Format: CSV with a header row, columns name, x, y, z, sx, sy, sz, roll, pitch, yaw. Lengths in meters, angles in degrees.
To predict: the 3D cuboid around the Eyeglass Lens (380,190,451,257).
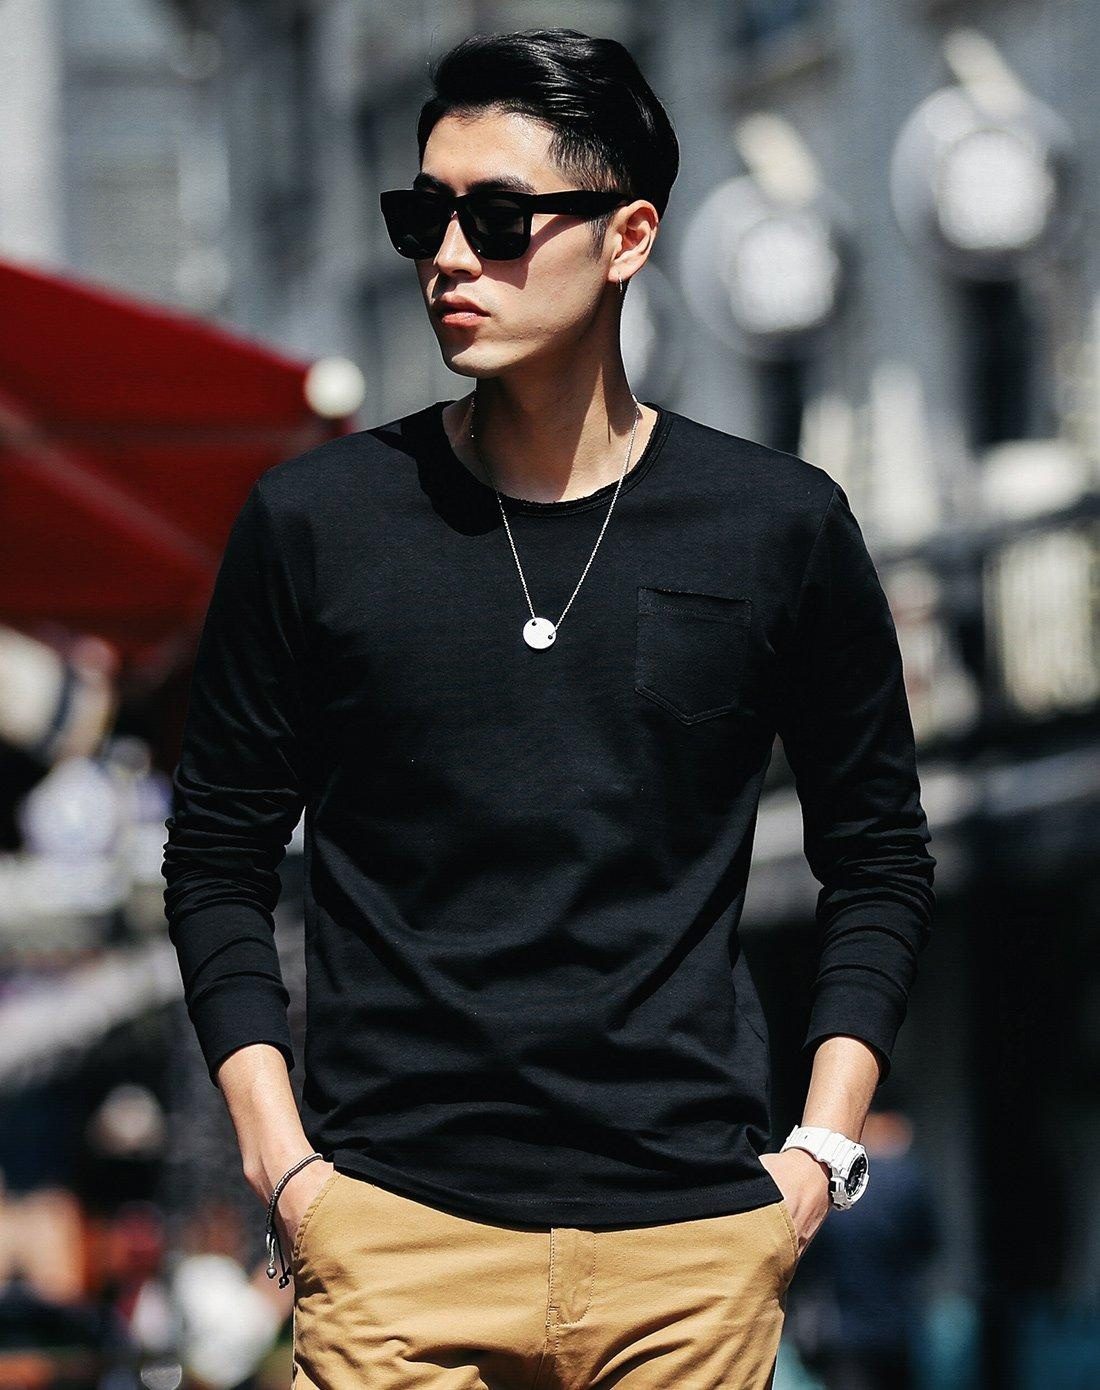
name,x,y,z,sx,sy,sz,roll,pitch,yaw
Eyeglass Lens,-0.186,-0.667,3.502,0.109,0.108,0.044,3,73,12
